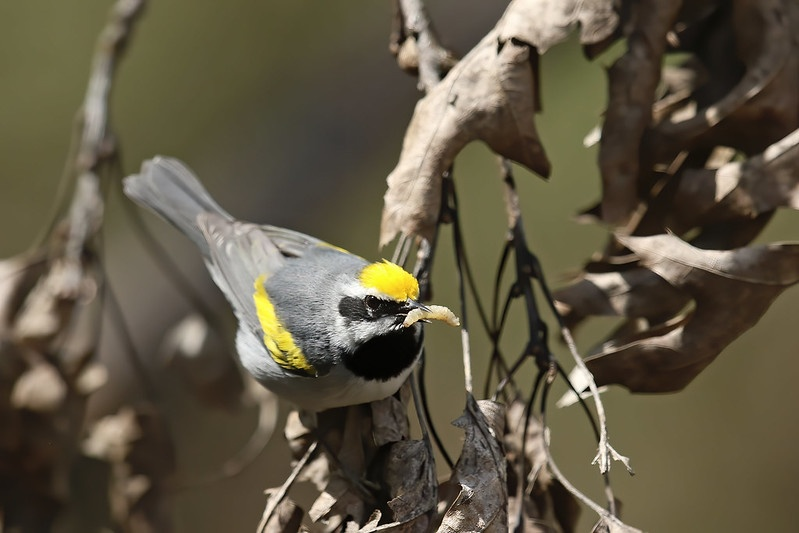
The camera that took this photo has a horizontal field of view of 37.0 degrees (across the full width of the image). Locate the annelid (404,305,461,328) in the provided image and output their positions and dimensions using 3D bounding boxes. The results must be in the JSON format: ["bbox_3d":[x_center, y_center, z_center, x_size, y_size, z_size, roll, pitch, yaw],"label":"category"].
[{"bbox_3d":[0.125,0.198,4.674,0.193,0.096,0.054,0,24,12],"label":"annelid"}]
